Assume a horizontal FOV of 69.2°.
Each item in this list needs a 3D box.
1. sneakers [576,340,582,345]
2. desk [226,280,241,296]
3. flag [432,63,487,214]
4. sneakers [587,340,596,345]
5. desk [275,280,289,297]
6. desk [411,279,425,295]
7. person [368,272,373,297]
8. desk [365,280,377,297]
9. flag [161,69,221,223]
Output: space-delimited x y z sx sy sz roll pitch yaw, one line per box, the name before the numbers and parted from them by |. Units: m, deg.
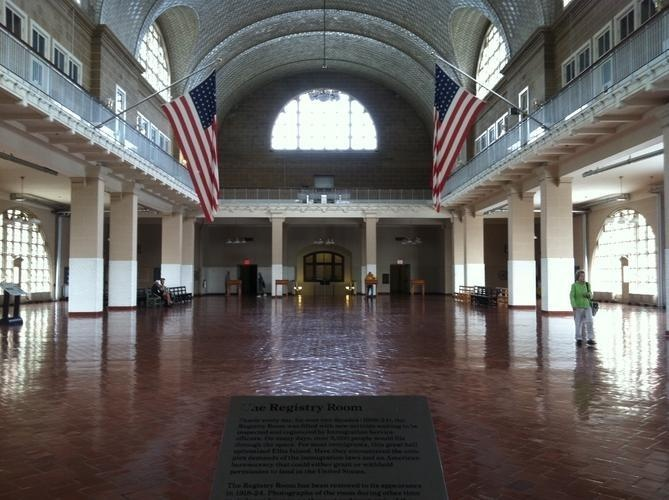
sneakers | 5.763 2.192 11.410 0.130 0.141 0.075 0 -13 0
desk | -7.685 2.863 37.686 1.229 1.370 1.315 0 -7 -2
flag | 3.691 -3.899 15.125 0.773 4.492 2.344 -1 2 -11
sneakers | 6.051 2.187 11.418 0.108 0.065 0.119 5 -5 -33
desk | -3.755 2.645 33.538 0.971 1.459 1.464 -1 -2 3
desk | 6.541 2.820 38.499 1.256 1.437 1.344 -1 -8 1
person | 2.340 2.313 31.561 0.436 1.485 0.742 0 2 0
desk | 2.418 2.421 32.071 0.909 1.743 1.007 -1 1 4
flag | -3.900 -3.053 13.914 0.862 4.461 1.482 1 2 19
